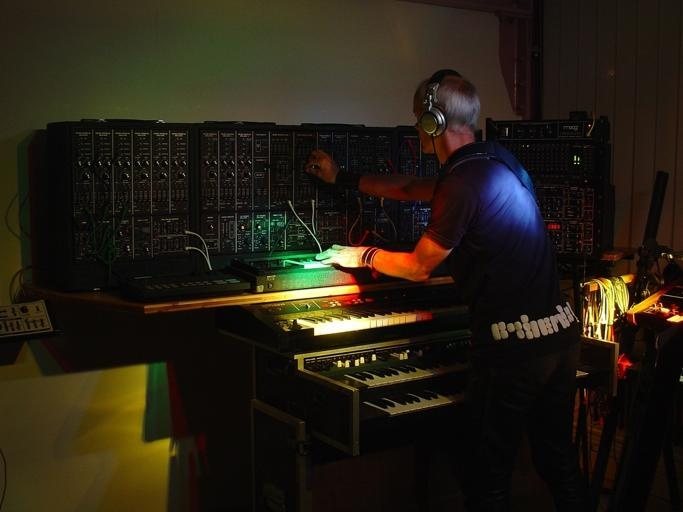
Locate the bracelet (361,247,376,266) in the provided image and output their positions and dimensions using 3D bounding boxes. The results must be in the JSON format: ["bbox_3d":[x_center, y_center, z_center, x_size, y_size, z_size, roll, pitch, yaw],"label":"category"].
[{"bbox_3d":[0.130,-0.002,2.776,0.062,0.094,0.031,4,-3,-40],"label":"bracelet"}]

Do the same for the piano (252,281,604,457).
[{"bbox_3d":[0.125,0.492,2.710,1.436,0.573,0.865,-7,10,-36],"label":"piano"}]

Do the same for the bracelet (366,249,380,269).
[{"bbox_3d":[0.148,0.015,2.775,0.060,0.093,0.033,-3,-34,9],"label":"bracelet"}]
